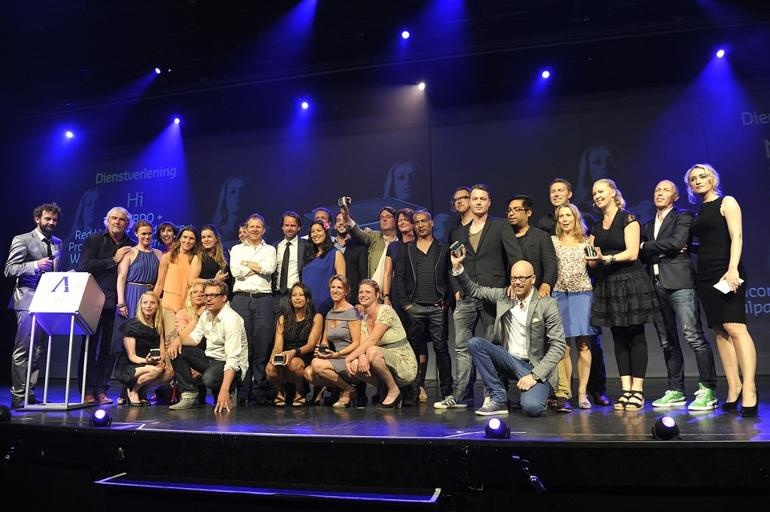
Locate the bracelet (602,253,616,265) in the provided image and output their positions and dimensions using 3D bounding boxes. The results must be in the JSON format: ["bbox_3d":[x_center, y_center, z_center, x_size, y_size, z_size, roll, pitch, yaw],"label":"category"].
[{"bbox_3d":[2.391,0.035,6.891,0.114,0.129,0.087,15,11,-41],"label":"bracelet"}]

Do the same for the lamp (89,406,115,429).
[{"bbox_3d":[-2.771,1.572,6.270,0.217,0.217,0.212,3,-26,-16],"label":"lamp"}]

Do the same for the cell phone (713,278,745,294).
[{"bbox_3d":[3.441,0.290,6.396,0.279,0.160,0.134,-7,-15,21],"label":"cell phone"}]

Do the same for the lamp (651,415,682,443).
[{"bbox_3d":[2.396,1.482,5.475,0.186,0.211,0.216,-1,-15,14],"label":"lamp"}]

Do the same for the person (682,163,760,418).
[{"bbox_3d":[3.479,0.292,6.590,0.488,2.632,0.577,-8,-16,25],"label":"person"}]

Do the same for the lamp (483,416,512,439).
[{"bbox_3d":[1.004,1.520,5.709,0.164,0.184,0.173,-4,17,-7],"label":"lamp"}]

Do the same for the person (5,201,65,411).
[{"bbox_3d":[-4.290,0.495,7.700,0.551,2.579,0.860,6,-16,-27],"label":"person"}]
